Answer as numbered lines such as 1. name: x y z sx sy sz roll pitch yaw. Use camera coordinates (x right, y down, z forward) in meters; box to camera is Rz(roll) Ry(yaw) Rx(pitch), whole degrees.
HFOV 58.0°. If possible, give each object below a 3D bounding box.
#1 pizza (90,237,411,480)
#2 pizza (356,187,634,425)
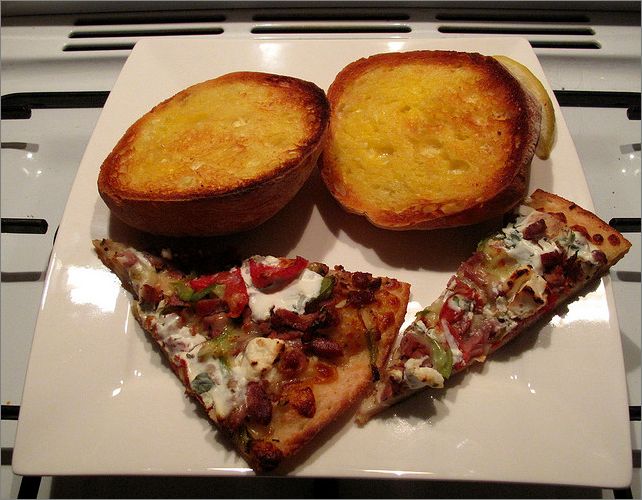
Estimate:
1. pizza: -0.241 0.298 1.860 0.947 0.279 0.678 13 58 6
2. pizza: 0.630 0.212 2.065 1.180 0.213 0.461 -40 62 -5
